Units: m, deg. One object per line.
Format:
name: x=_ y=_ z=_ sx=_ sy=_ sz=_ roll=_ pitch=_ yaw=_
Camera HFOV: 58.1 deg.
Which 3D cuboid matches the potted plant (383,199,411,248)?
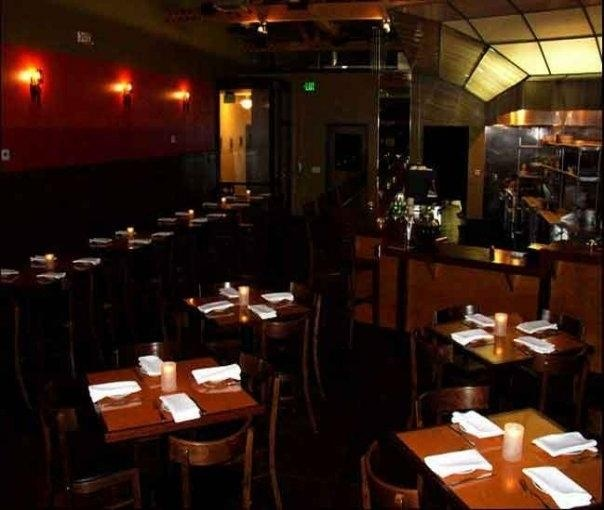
potted plant: x=1.128 y=-0.332 z=6.390 sx=0.286 sy=0.574 sz=0.133 roll=4 pitch=-32 yaw=13
